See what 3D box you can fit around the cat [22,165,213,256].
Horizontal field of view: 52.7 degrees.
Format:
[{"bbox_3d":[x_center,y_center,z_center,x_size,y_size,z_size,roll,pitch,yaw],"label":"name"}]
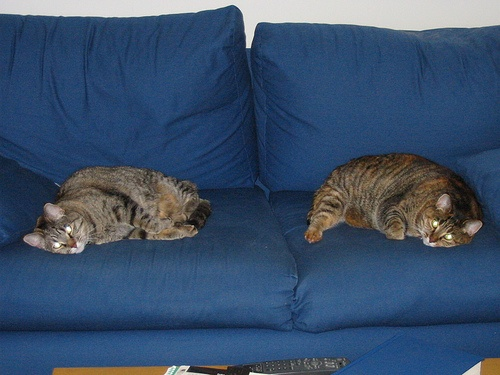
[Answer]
[{"bbox_3d":[-0.679,0.121,2.651,0.887,0.410,0.240,3,-53,-10],"label":"cat"}]
